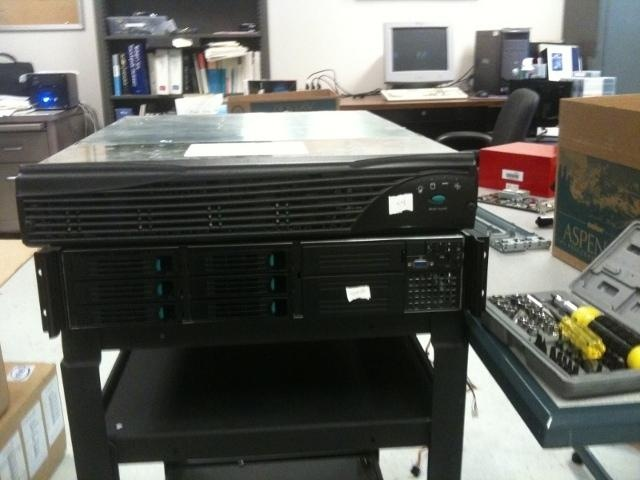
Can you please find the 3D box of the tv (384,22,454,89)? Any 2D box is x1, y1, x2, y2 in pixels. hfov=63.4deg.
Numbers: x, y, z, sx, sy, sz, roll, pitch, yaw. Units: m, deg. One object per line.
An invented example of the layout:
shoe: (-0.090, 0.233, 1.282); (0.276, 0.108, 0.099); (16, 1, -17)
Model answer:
tv: (0.786, -1.469, 4.076); (0.560, 0.433, 0.127); (-5, 23, -8)
